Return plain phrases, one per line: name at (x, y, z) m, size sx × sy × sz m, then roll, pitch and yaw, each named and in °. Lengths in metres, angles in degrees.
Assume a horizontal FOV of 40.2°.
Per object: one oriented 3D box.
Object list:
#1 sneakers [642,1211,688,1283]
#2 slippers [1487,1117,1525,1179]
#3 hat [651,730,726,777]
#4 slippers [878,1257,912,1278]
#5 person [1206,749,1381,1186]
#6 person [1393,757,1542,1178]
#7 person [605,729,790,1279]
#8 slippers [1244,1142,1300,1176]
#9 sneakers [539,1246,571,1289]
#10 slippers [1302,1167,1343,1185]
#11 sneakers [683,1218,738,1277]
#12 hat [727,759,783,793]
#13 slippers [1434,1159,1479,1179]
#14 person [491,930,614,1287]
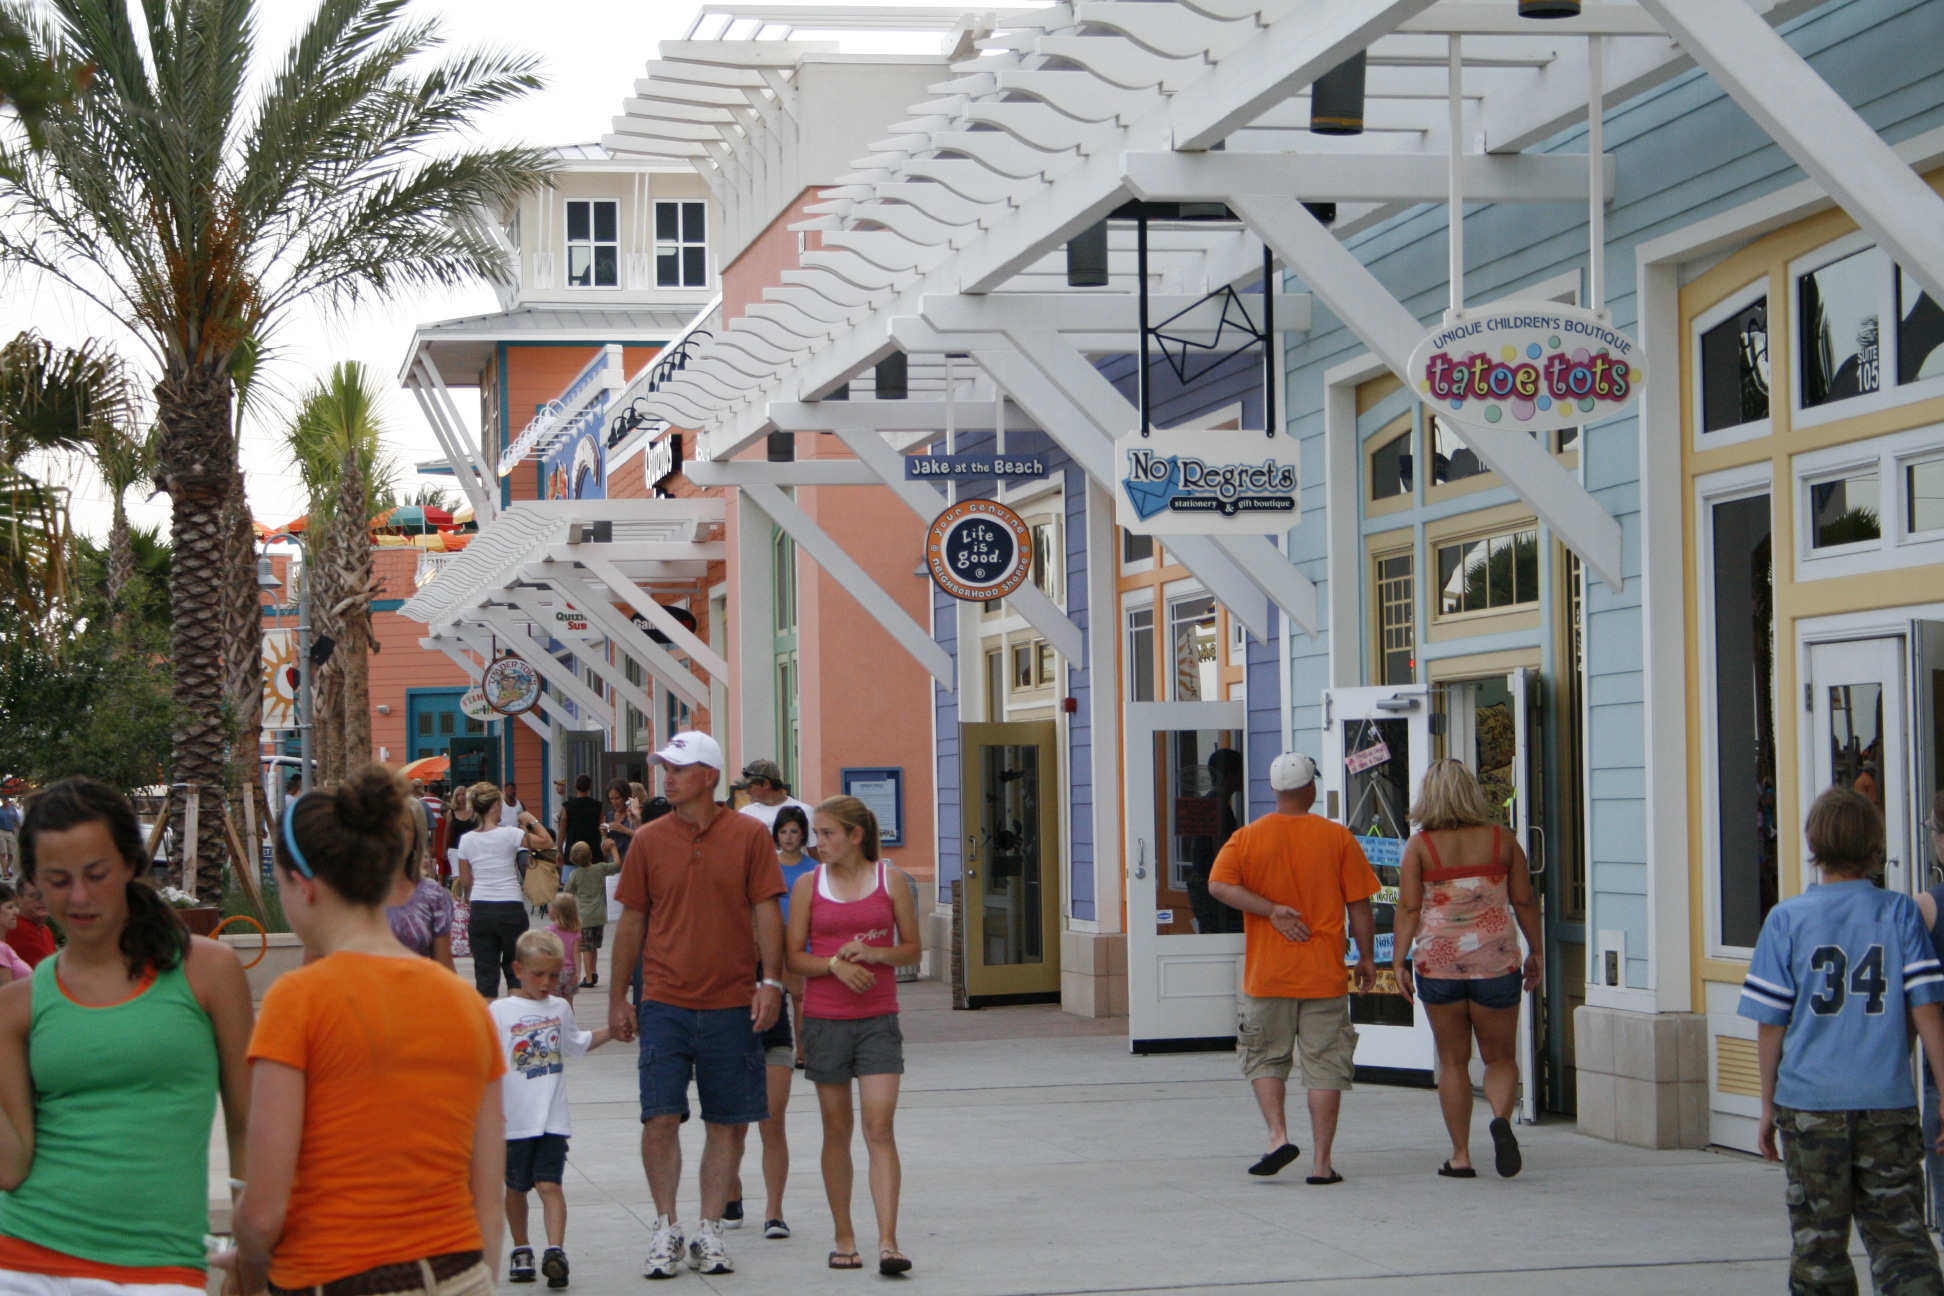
sneakers at (-1.436, 2.779, 12.399) m, size 0.206 × 0.288 × 0.351 m, roll 0°, pitch -9°, yaw -7°
slippers at (2.827, 2.627, 13.952) m, size 0.130 × 0.376 × 0.153 m, roll -11°, pitch -13°, yaw 20°
hat at (-1.329, 0.471, 12.446) m, size 0.345 × 0.203 × 0.258 m, roll 5°, pitch -2°, yaw -8°
slippers at (-0.360, 2.822, 12.158) m, size 0.141 × 0.112 × 0.118 m, roll -1°, pitch -9°, yaw -1°
person at (1.754, 1.703, 14.254) m, size 0.850 × 2.263 × 0.303 m, roll -3°, pitch -9°, yaw 10°
person at (2.668, 1.695, 14.240) m, size 0.771 × 2.210 × 0.478 m, roll -1°, pitch -9°, yaw 3°
person at (-1.295, 1.646, 12.465) m, size 0.821 × 2.512 × 0.657 m, roll 1°, pitch -9°, yaw -13°
slippers at (1.604, 2.749, 14.153) m, size 0.103 × 0.135 × 0.334 m, roll 37°, pitch -34°, yaw -4°
sneakers at (-1.903, 2.801, 12.040) m, size 0.085 × 0.108 × 0.228 m, roll 0°, pitch -43°, yaw 0°
slippers at (1.864, 2.774, 13.987) m, size 0.205 × 0.076 × 0.171 m, roll 0°, pitch -9°, yaw -5°
sneakers at (-1.232, 2.791, 12.437) m, size 0.212 × 0.239 × 0.307 m, roll 0°, pitch -9°, yaw -7°
hat at (-1.265, 0.736, 15.647) m, size 0.234 × 0.236 × 0.194 m, roll 2°, pitch -5°, yaw 17°
slippers at (2.586, 2.749, 14.090) m, size 0.199 × 0.088 × 0.184 m, roll -3°, pitch -9°, yaw 10°
person at (-1.988, 2.102, 12.254) m, size 0.432 × 1.649 × 1.064 m, roll 0°, pitch -9°, yaw -9°
